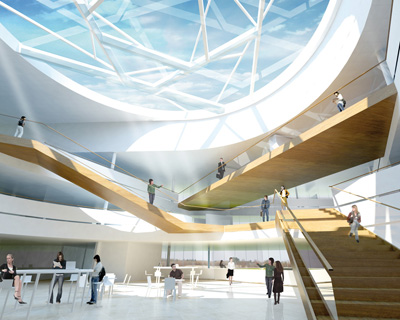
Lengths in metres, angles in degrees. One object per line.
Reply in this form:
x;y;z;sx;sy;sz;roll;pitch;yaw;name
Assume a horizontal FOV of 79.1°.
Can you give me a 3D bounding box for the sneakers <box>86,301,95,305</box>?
-3.799;4.865;8.337;0.323;0.127;0.115;0;-36;41;sneakers
